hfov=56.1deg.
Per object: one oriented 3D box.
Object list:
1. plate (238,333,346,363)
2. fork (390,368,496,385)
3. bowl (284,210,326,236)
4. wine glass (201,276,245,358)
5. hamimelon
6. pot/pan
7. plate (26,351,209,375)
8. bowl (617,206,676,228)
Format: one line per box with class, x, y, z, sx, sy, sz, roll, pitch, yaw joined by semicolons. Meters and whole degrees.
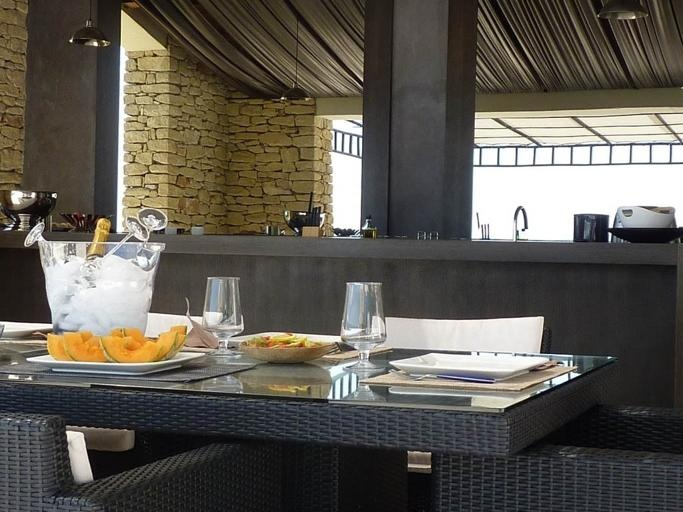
plate;-0.106;0.187;1.465;0.195;0.058;0.189;2;5;14
fork;0.189;0.217;1.148;0.245;0.028;0.028;0;0;11
bowl;-0.195;-0.202;3.754;0.185;0.116;0.182;0;-2;0
wine glass;-0.267;0.135;1.444;0.101;0.176;0.098;2;-17;-16
hamimelon;-0.433;0.157;1.232;0.241;0.063;0.177;-3;3;-21
pot/pan;0.049;0.146;1.343;0.101;0.178;0.105;0;-6;-5
plate;-0.439;0.197;1.312;0.258;0.030;0.217;1;1;19
bowl;1.219;-0.155;2.575;0.129;0.065;0.143;3;-2;-38
